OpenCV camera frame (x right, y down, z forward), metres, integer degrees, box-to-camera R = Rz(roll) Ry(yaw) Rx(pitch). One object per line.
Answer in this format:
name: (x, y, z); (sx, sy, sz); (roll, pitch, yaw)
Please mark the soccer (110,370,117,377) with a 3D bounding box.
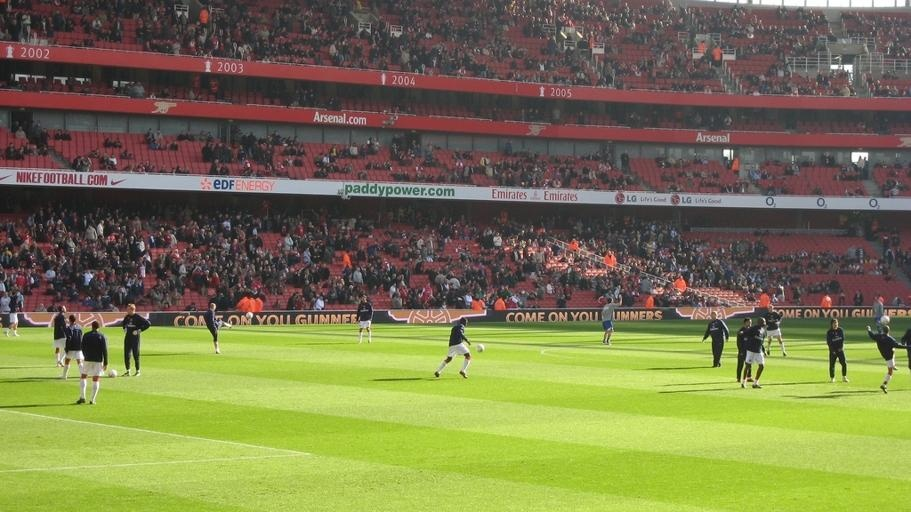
soccer: (-22.488, 7.525, 101.339); (0.402, 0.370, 0.398); (13, 34, 40)
